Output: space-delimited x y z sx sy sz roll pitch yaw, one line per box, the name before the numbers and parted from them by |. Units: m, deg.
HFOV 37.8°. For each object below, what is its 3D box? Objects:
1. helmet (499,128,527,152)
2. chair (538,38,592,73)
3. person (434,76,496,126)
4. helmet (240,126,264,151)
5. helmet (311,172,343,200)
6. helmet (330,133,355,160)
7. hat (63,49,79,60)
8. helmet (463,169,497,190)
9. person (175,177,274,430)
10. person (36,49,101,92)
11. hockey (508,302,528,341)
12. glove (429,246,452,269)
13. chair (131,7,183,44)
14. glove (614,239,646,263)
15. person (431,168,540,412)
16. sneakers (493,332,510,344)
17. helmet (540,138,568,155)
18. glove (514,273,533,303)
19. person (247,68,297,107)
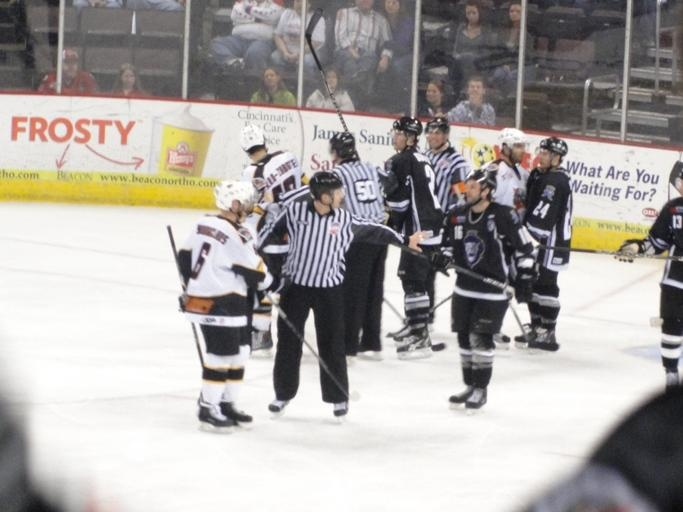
helmet | 1.487 -1.017 8.642 0.200 0.189 0.171 2 9 22
chair | 2.881 -2.547 12.586 0.646 0.440 0.370 3 8 17
person | 1.747 -1.978 12.913 1.004 0.654 0.305 0 -15 -5
helmet | -0.708 -0.949 8.022 0.162 0.206 0.211 -7 -17 -4
helmet | -0.115 -0.488 6.762 0.201 0.194 0.157 -15 27 -4
helmet | 0.020 -0.864 7.829 0.204 0.198 0.167 1 6 3
hat | -3.571 -2.664 13.153 0.118 0.099 0.186 12 19 29
helmet | 0.996 -0.564 7.153 0.192 0.173 0.147 10 7 2
person | -0.778 0.315 6.644 0.631 1.624 0.407 1 10 -10
person | -3.586 -2.432 13.064 0.765 0.611 0.296 0 10 -17
hockey | 1.584 0.598 8.952 0.062 0.429 0.059 -21 -13 -45
glove | 0.732 0.003 7.428 0.169 0.164 0.119 12 16 -12
chair | -2.439 -3.090 13.311 0.737 0.499 0.402 1 -2 1
glove | 2.280 -0.007 7.872 0.184 0.110 0.256 -13 10 40
person | 1.014 0.222 7.183 0.689 1.693 0.503 5 10 9
sneakers | 1.405 0.707 8.684 0.164 0.098 0.259 2 0 5
helmet | 1.856 -0.964 8.648 0.200 0.183 0.152 25 3 3
glove | 1.311 0.233 7.452 0.063 0.209 0.212 12 8 37
person | -0.895 -2.278 13.296 0.698 0.517 0.322 4 14 23
